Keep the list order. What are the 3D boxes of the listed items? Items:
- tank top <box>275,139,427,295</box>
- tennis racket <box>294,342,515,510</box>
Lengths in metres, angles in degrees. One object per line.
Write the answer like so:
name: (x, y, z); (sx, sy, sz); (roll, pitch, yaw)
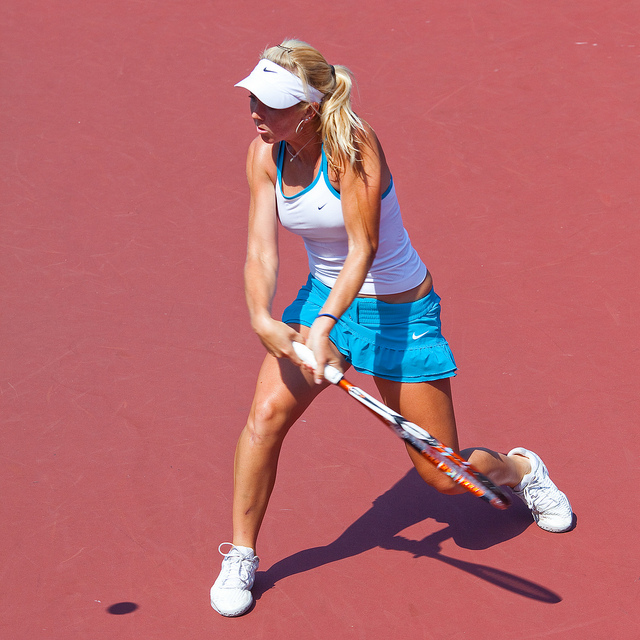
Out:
tank top: (0.097, -0.406, 4.130); (0.485, 0.341, 0.747); (-19, -51, 12)
tennis racket: (0.358, 0.516, 4.610); (1.032, 0.058, 0.131); (43, -20, -11)
